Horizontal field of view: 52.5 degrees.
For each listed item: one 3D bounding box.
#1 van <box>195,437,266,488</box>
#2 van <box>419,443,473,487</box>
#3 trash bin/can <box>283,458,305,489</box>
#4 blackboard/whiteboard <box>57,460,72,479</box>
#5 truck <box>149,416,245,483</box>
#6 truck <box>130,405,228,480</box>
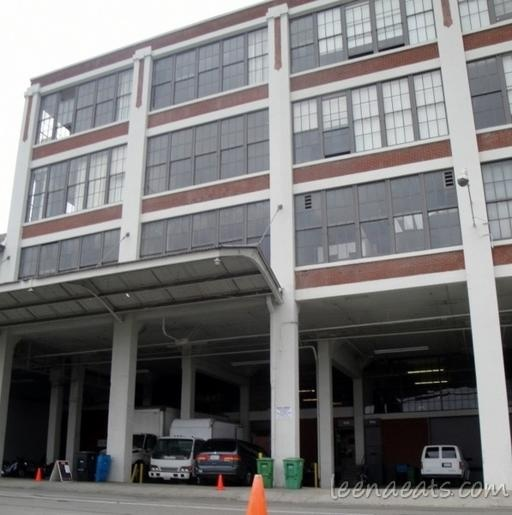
[{"bbox_3d":[-1.022,7.613,19.494,1.373,1.117,3.015,-4,-20,21],"label":"van"},{"bbox_3d":[8.023,9.089,22.165,1.825,1.594,3.265,-4,-14,18],"label":"van"},{"bbox_3d":[1.238,6.844,16.517,0.789,1.149,0.826,-3,-22,12],"label":"trash bin/can"},{"bbox_3d":[-7.002,7.780,18.982,0.520,0.653,0.946,5,-21,-11],"label":"blackboard/whiteboard"},{"bbox_3d":[-2.489,7.766,20.850,1.188,1.471,2.883,-10,-32,18],"label":"truck"},{"bbox_3d":[-3.846,8.300,22.646,2.472,2.534,4.613,-5,-35,7],"label":"truck"}]
